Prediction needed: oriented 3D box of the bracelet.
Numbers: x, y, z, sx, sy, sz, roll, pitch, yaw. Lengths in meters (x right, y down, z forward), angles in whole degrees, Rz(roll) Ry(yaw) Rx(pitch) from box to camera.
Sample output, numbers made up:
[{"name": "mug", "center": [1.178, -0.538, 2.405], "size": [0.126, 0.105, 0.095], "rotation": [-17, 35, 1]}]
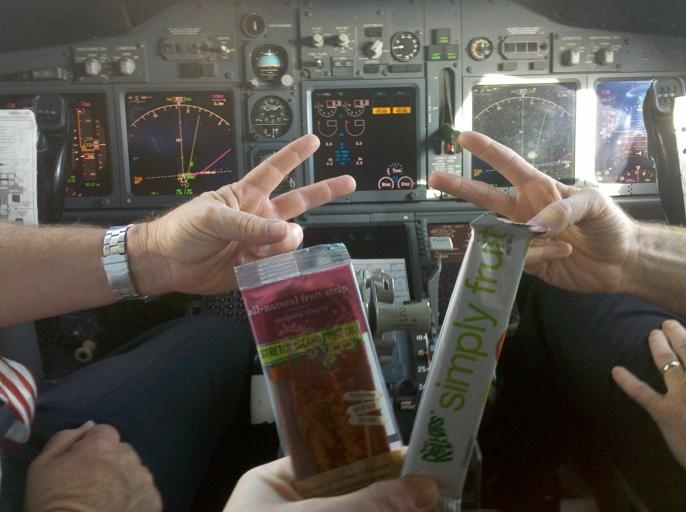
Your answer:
[{"name": "bracelet", "center": [-0.641, 0.022, 1.559], "size": [0.098, 0.211, 0.116], "rotation": [-6, 16, -15]}]

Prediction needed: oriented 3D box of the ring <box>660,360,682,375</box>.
[{"name": "ring", "center": [0.954, 0.323, 1.560], "size": [0.054, 0.048, 0.027], "rotation": [9, 19, 33]}]
